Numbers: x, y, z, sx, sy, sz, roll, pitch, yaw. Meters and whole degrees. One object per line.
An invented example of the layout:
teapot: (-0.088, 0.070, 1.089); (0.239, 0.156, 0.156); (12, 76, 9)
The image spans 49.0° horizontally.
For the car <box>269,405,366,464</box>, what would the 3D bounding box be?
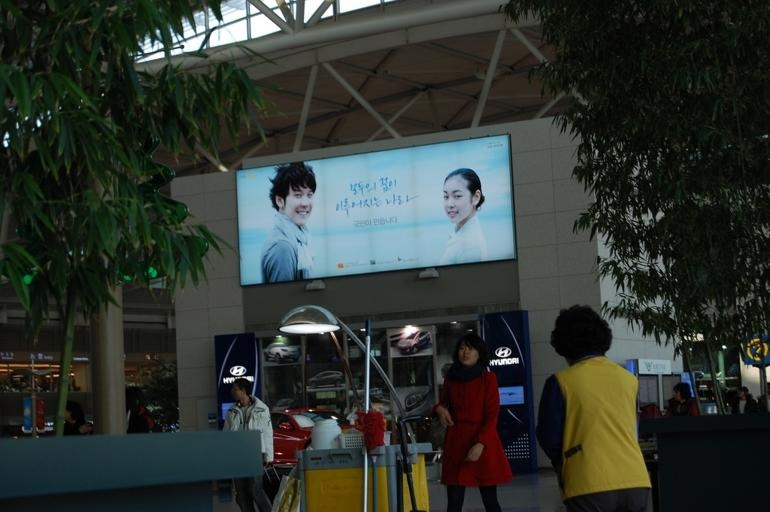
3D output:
car: (-1.387, 3.021, 14.247); (2.001, 0.676, 1.396); (-5, -6, 14)

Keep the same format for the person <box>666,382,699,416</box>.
person: (3.525, 1.701, 10.089); (0.274, 0.378, 1.474); (-6, -11, 17)

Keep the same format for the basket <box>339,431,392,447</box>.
basket: (-0.142, 1.418, 6.545); (0.404, 0.134, 0.359); (-2, -11, -10)
